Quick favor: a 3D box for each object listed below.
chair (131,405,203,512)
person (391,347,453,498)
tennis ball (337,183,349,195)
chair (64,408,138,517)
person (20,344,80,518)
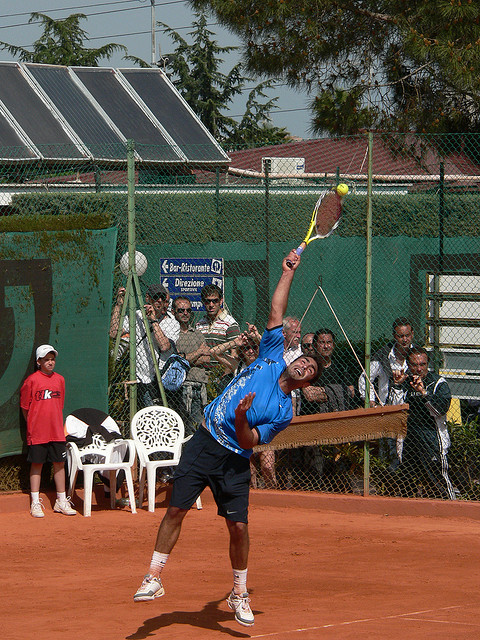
[{"bbox_3d":[-0.730,1.278,9.707,0.575,0.982,0.626,0,-8,-22],"label":"chair"},{"bbox_3d":[1.763,0.964,9.881,0.674,1.432,0.330,1,3,30],"label":"person"},{"bbox_3d":[0.727,-0.944,7.248,0.072,0.080,0.059,6,8,27],"label":"tennis ball"},{"bbox_3d":[-1.335,1.282,9.645,0.593,0.970,0.700,-2,-5,-10],"label":"chair"},{"bbox_3d":[-1.814,1.009,9.654,0.521,1.570,0.403,-1,2,-14],"label":"person"}]
